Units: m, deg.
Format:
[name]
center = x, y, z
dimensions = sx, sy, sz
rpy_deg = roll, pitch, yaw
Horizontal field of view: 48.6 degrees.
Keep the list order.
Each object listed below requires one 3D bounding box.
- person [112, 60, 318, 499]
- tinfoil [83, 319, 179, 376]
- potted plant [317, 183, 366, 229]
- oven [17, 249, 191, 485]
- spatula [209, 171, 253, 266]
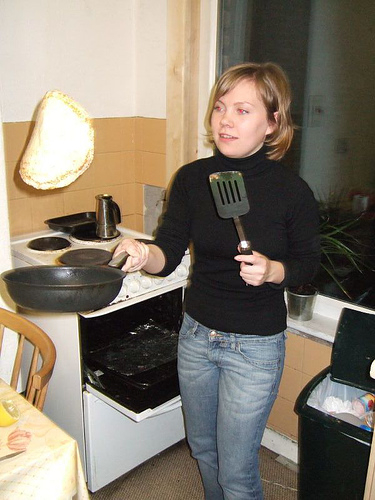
[person]
center = 0.097, 0.162, 1.105
dimensions = 0.421, 1.261, 0.261
rpy_deg = 5, 13, 15
[tinfoil]
center = -0.179, 0.393, 1.600
dimensions = 0.188, 0.028, 0.256
rpy_deg = 21, 26, 27
[potted plant]
center = 0.548, -0.169, 1.552
dimensions = 0.158, 0.162, 0.154
rpy_deg = -21, 31, -38
[oven]
center = -0.288, 0.461, 1.736
dimensions = 0.683, 0.762, 0.665
rpy_deg = 10, 11, 28
[spatula]
center = 0.069, -0.064, 0.943
dimensions = 0.121, 0.202, 0.108
rpy_deg = 2, 24, -5
